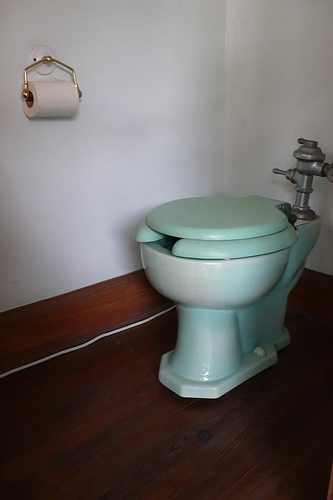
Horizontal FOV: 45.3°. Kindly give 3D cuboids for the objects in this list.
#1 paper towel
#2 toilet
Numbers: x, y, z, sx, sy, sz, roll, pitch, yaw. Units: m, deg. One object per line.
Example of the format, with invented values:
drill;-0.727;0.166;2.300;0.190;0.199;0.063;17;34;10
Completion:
paper towel;-0.264;-0.338;0.896;0.096;0.076;0.076;-18;29;-41
toilet;0.154;0.030;1.055;0.526;0.433;0.357;-18;29;-33
